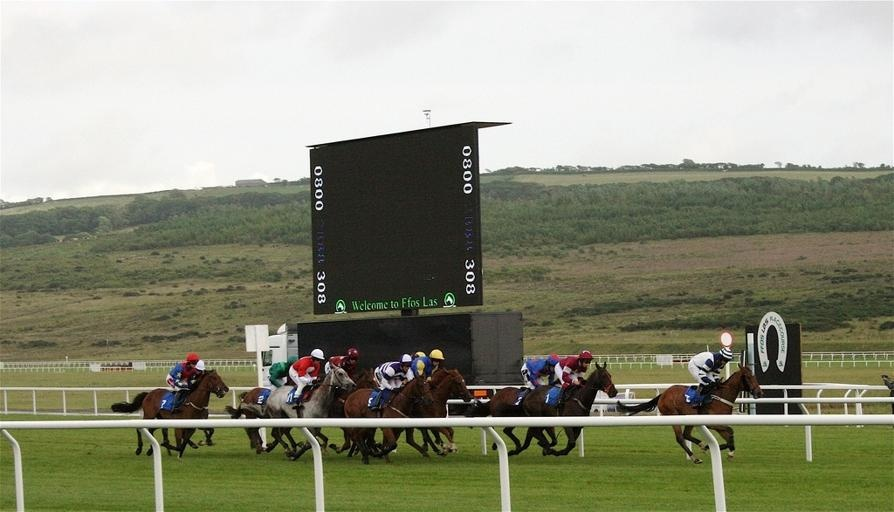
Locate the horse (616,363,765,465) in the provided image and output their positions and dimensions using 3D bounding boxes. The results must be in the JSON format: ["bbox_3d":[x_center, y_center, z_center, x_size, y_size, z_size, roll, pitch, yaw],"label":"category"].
[{"bbox_3d":[16.489,9.966,98.693,8.040,5.307,3.254,-4,-2,9],"label":"horse"}]

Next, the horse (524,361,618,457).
[{"bbox_3d":[8.055,9.668,99.038,5.263,4.935,1.482,-4,-2,-1],"label":"horse"}]

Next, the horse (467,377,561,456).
[{"bbox_3d":[5.404,10.009,99.211,9.628,5.342,1.873,-2,-6,34],"label":"horse"}]
